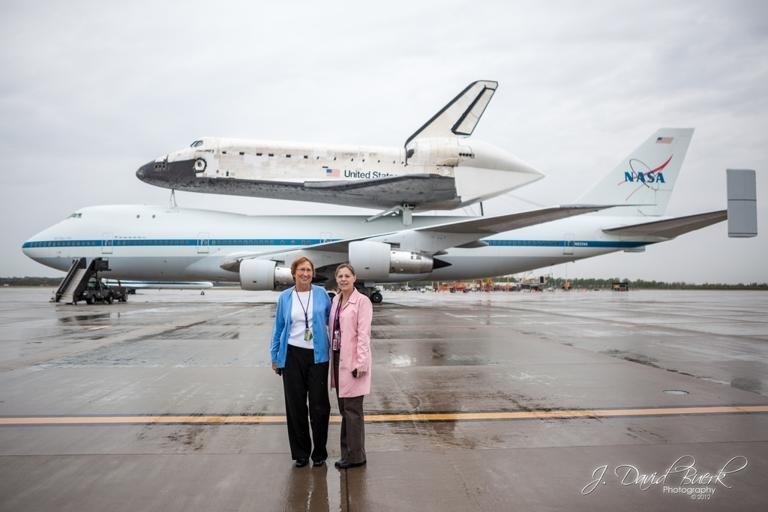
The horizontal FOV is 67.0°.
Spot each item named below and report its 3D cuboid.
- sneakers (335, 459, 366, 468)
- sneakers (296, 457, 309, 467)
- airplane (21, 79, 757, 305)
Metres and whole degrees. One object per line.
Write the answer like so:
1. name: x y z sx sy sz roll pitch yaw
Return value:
1. sneakers: -0.426 2.509 6.984 0.347 0.101 0.106 7 -15 -5
2. sneakers: -0.987 2.472 6.957 0.188 0.100 0.090 -5 15 -22
3. airplane: 0.976 -1.697 21.892 18.956 4.620 12.385 1 1 1
